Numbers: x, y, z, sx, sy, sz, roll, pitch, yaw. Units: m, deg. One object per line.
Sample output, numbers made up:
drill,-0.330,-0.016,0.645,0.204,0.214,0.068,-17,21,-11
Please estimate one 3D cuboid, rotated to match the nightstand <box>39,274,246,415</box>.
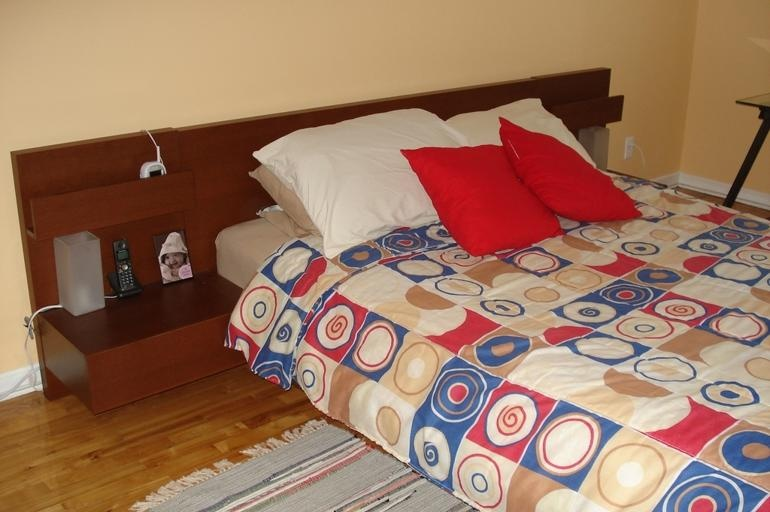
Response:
nightstand,-1.034,0.358,2.386,0.838,0.351,0.535,-22,38,-32
